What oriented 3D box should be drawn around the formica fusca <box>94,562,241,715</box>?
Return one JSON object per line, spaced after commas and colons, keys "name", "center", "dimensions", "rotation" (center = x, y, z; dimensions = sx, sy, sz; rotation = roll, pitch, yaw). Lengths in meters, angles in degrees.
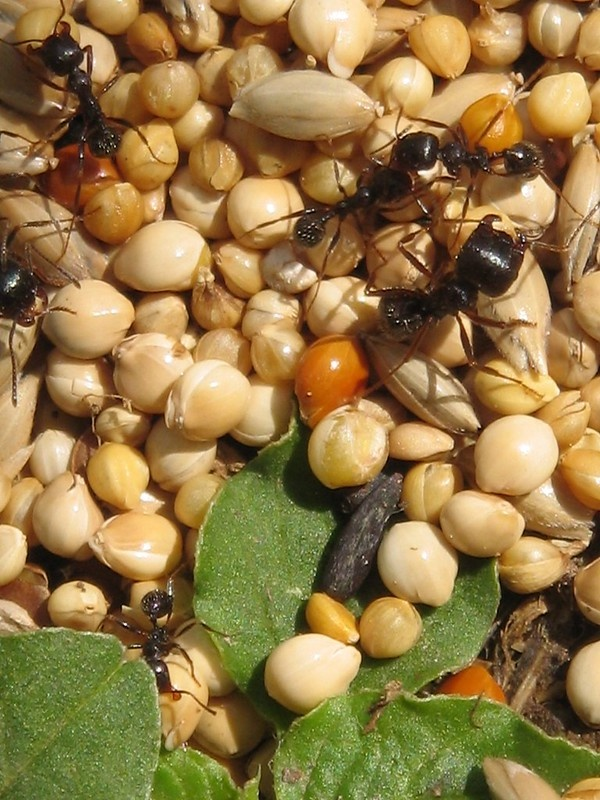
{"name": "formica fusca", "center": [-0.278, 0.468, 1.574], "dimensions": [0.222, 0.085, 0.269], "rotation": [-4, 73, -17]}
